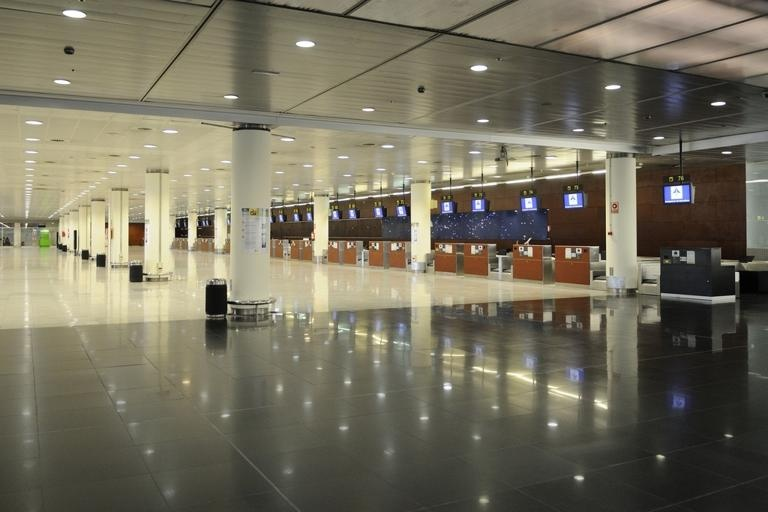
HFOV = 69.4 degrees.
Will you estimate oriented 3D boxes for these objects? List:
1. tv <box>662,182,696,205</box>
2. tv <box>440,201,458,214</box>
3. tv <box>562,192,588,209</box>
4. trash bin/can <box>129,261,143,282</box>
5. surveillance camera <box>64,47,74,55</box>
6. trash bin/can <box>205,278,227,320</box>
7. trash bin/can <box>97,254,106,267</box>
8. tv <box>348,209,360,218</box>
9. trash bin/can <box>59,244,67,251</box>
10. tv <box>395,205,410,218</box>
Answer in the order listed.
[{"bbox_3d":[9.331,-1.989,17.671,0.404,0.626,0.793,1,-1,-23],"label":"tv"},{"bbox_3d":[3.232,-2.431,27.970,0.738,0.586,0.660,0,-3,5],"label":"tv"},{"bbox_3d":[7.450,-2.198,21.674,0.502,0.617,0.944,2,-2,-30],"label":"tv"},{"bbox_3d":[-10.019,0.643,22.650,0.448,0.821,0.689,1,-1,-18],"label":"trash bin/can"},{"bbox_3d":[-5.405,-3.548,9.630,0.101,0.030,0.100,4,-3,-44],"label":"surveillance camera"},{"bbox_3d":[-4.123,1.062,13.844,0.495,0.937,0.329,1,-1,-14],"label":"trash bin/can"},{"bbox_3d":[-16.277,0.227,32.285,0.480,0.663,0.560,1,-1,-21],"label":"trash bin/can"},{"bbox_3d":[-1.822,-2.564,34.119,0.610,0.648,0.759,3,-4,-19],"label":"tv"},{"bbox_3d":[-37.183,-0.982,64.838,0.503,0.747,1.190,6,-44,-26],"label":"trash bin/can"},{"bbox_3d":[0.910,-2.576,31.030,1.024,0.790,0.894,-5,-6,5],"label":"tv"}]
